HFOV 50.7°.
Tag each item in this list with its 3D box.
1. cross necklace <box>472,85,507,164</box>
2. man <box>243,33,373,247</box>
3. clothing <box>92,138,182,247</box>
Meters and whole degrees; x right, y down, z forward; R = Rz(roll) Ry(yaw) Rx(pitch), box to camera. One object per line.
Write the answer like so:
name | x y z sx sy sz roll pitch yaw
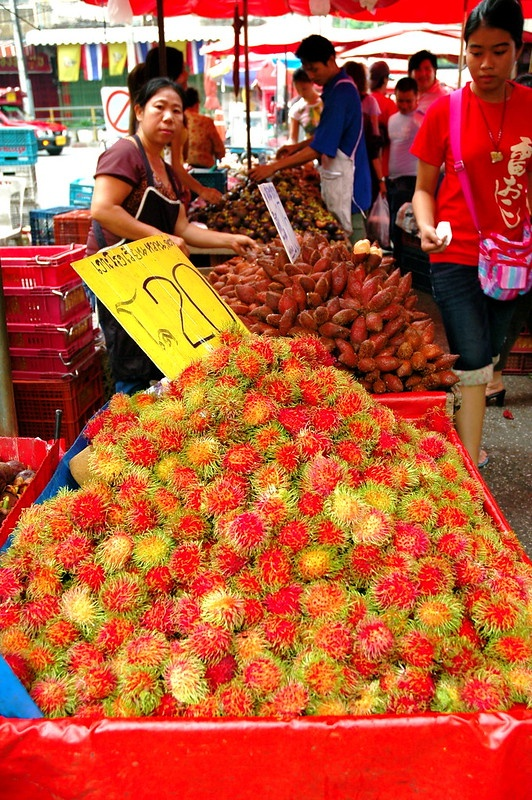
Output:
cross necklace | 0.869 -1.049 2.171 0.121 0.230 0.062 6 23 15
man | 0.417 -1.747 4.678 1.001 2.172 0.591 -12 39 -6
clothing | -0.529 -0.921 2.431 0.157 0.401 0.500 12 25 28
